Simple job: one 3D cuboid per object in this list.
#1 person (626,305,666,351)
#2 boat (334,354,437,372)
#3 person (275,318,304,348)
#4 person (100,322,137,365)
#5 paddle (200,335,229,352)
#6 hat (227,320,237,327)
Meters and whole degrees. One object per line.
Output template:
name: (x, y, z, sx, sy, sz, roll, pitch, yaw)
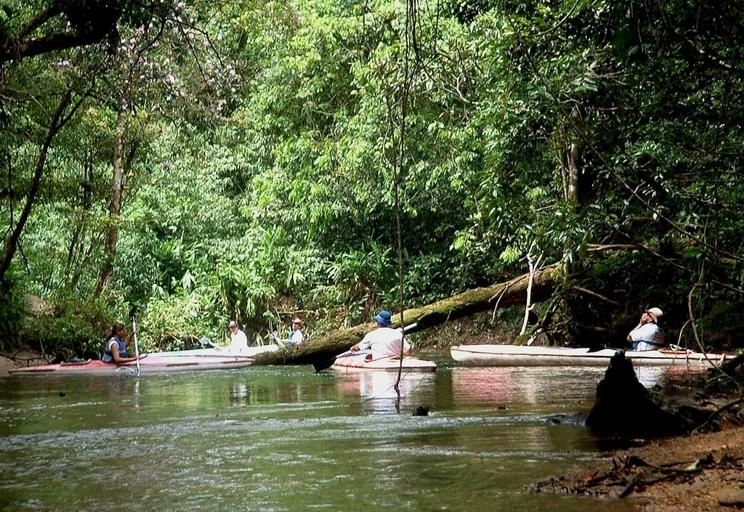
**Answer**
person: (5.743, 1.523, 16.834, 0.650, 0.905, 0.783, -2, -5, 17)
boat: (0.160, 2.290, 17.260, 1.626, 0.296, 1.049, -5, -13, 39)
person: (-2.392, 2.189, 22.867, 0.658, 1.043, 0.467, 14, 15, 12)
person: (-5.840, 2.004, 18.405, 0.594, 0.913, 1.058, 2, -6, -30)
paddle: (-4.487, 2.449, 22.622, 0.660, 0.321, 0.253, 6, 38, 27)
hat: (-3.927, 1.874, 22.397, 0.213, 0.174, 0.317, -3, -16, 4)
